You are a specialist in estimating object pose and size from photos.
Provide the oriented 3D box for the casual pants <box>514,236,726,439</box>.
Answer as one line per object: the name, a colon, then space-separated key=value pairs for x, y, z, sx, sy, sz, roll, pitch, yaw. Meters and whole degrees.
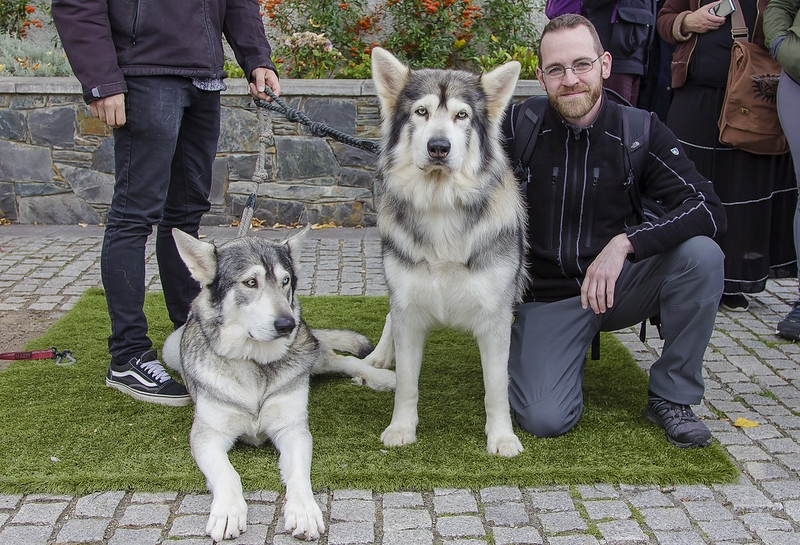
casual pants: x=1.305 y=0.350 z=4.976 sx=1.259 sy=1.283 sz=1.377 roll=-5 pitch=16 yaw=-20

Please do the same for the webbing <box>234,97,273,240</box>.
webbing: x=-1.572 y=-1.173 z=7.389 sx=0.319 sy=1.862 sz=0.221 roll=6 pitch=-22 yaw=0

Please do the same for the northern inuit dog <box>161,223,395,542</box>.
northern inuit dog: x=-0.847 y=0.505 z=4.261 sx=1.141 sy=1.022 sz=1.764 roll=-3 pitch=22 yaw=-6

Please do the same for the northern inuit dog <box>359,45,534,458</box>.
northern inuit dog: x=0.293 y=-0.125 z=4.310 sx=0.912 sy=2.429 sz=0.617 roll=-1 pitch=16 yaw=2
